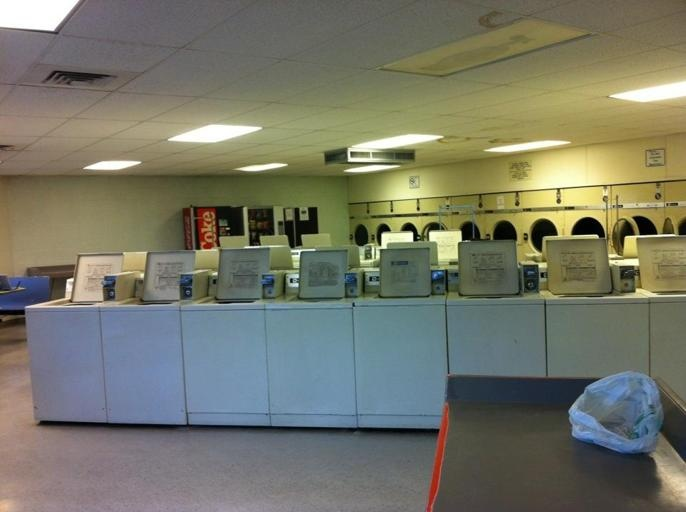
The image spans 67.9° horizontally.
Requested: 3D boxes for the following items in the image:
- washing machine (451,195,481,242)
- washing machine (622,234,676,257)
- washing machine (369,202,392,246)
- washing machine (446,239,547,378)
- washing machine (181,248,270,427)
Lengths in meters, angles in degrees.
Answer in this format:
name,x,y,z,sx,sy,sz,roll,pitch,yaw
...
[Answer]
name,x,y,z,sx,sy,sz,roll,pitch,yaw
washing machine,2.442,-0.711,10.190,0.548,0.748,1.260,-3,13,8
washing machine,2.942,-0.104,4.961,0.422,0.246,0.281,0,9,7
washing machine,0.910,-0.764,12.244,0.475,1.058,0.863,-9,14,-18
washing machine,1.342,0.444,4.469,0.817,1.038,0.784,-1,14,15
washing machine,-1.090,0.991,4.716,0.823,1.087,0.241,-2,14,11
